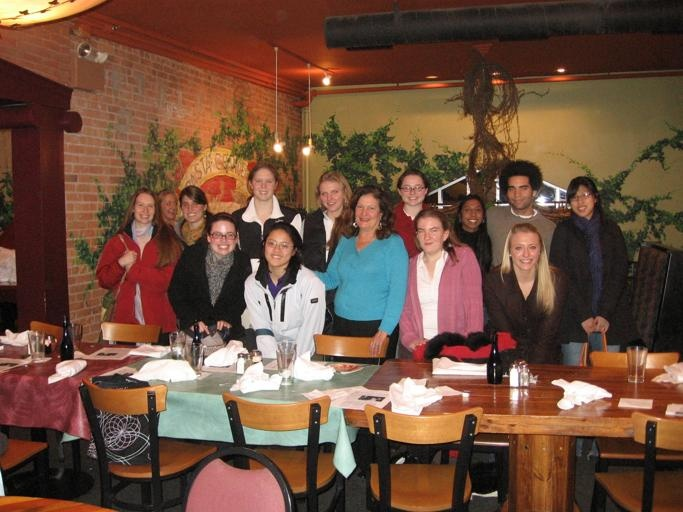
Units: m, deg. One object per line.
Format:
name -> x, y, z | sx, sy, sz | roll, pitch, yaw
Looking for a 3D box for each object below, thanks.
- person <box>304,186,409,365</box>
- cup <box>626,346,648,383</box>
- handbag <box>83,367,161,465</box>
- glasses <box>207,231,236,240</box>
person -> 0.048, 0.330, 4.128 | 0.759, 1.601, 0.587 | 1, 10, 10
cup -> 1.636, 0.600, 3.132 | 0.115, 0.178, 0.112 | 11, -13, 2
handbag -> -1.121, 0.852, 3.092 | 0.403, 0.473, 0.245 | 2, 17, 0
glasses -> -0.889, -0.162, 4.325 | 0.192, 0.060, 0.059 | 1, 1, -16
